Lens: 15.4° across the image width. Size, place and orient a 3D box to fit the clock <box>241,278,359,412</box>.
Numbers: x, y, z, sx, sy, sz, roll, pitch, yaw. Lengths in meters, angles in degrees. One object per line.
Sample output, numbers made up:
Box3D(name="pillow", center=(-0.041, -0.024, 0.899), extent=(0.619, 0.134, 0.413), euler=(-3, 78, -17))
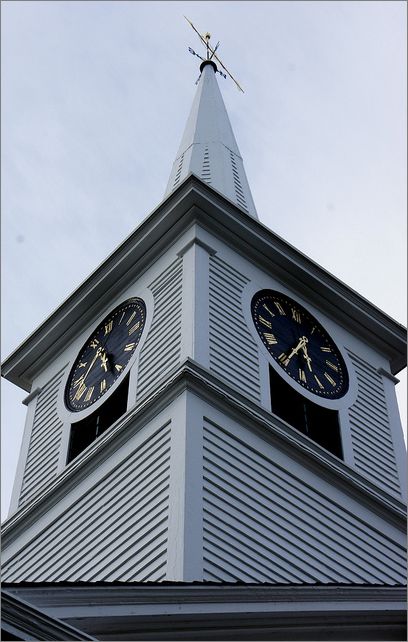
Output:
Box3D(name="clock", center=(1.514, 0.480, 25.769), extent=(0.160, 2.040, 2.023), euler=(-35, -38, 20))

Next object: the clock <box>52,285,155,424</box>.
Box3D(name="clock", center=(-1.714, 0.651, 25.929), extent=(0.222, 1.879, 1.857), euler=(29, -59, -16))
